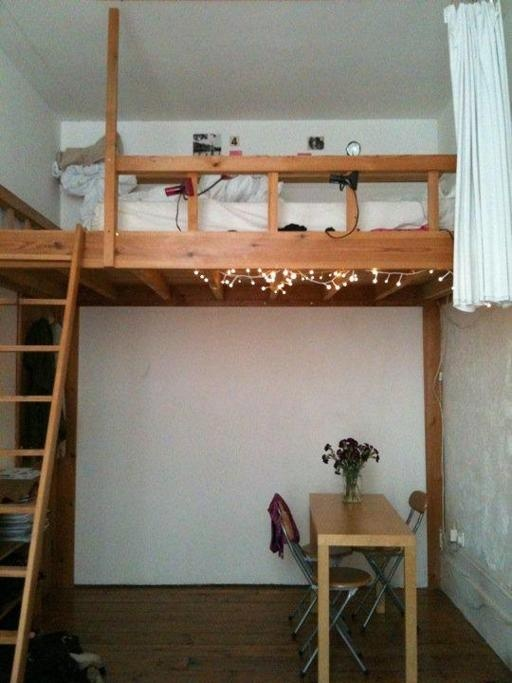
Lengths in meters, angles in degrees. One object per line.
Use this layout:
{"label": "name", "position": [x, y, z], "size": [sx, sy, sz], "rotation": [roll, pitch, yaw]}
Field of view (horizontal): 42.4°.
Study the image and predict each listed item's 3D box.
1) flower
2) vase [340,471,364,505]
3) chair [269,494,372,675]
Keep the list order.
{"label": "flower", "position": [0.574, 0.824, 4.384], "size": [0.391, 0.422, 0.401], "rotation": [3, -7, -28]}
{"label": "vase", "position": [0.615, 0.963, 4.301], "size": [0.177, 0.291, 0.167], "rotation": [1, -10, 0]}
{"label": "chair", "position": [0.359, 1.416, 4.070], "size": [0.751, 1.092, 0.786], "rotation": [-1, -5, 3]}
